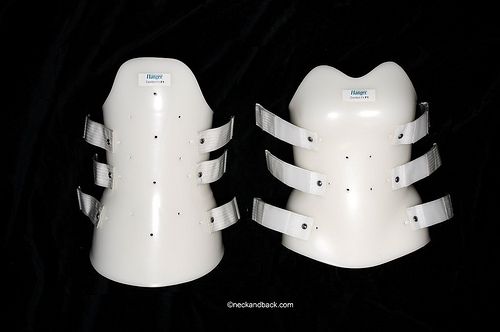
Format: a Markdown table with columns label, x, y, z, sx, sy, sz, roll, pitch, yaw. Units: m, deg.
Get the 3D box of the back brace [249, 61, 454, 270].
| label | x | y | z | sx | sy | sz | roll | pitch | yaw |
| --- | --- | --- | --- | --- | --- | --- | --- | --- | --- |
| back brace | 0.492 | -0.014 | 2.343 | 0.889 | 0.991 | 0.461 | -1 | -4 | 0 |
